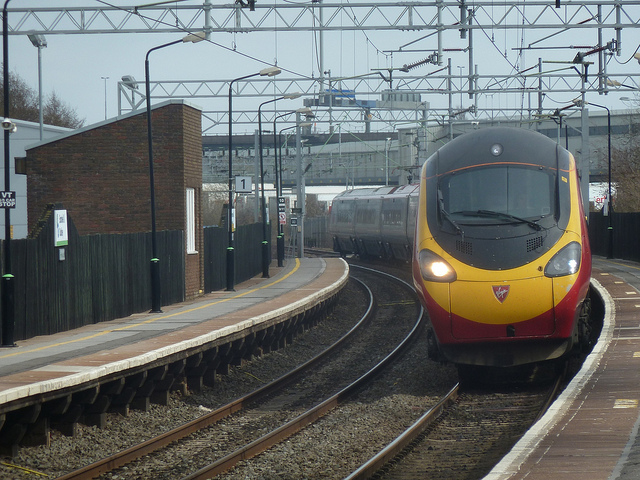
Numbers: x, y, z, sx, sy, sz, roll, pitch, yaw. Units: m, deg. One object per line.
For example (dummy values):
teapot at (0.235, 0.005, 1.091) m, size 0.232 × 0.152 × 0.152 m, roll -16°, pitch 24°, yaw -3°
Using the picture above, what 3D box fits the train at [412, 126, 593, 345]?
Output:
train at (3.559, -0.090, 18.922) m, size 3.218 × 4.128 × 1.785 m, roll -2°, pitch 4°, yaw 8°

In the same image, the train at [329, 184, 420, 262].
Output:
train at (2.858, -1.026, 54.195) m, size 1.230 × 4.330 × 16.766 m, roll -3°, pitch 4°, yaw -9°
